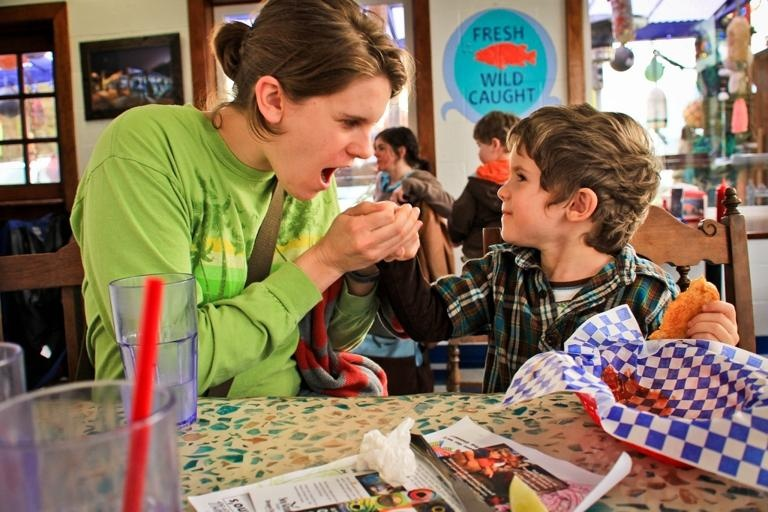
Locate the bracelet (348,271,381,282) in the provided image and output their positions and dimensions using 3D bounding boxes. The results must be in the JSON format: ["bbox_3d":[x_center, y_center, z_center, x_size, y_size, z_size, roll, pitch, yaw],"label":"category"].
[{"bbox_3d":[-0.054,0.053,1.500,0.045,0.017,0.041,3,3,24],"label":"bracelet"}]

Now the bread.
[{"bbox_3d":[0.605,0.106,1.200,0.167,0.057,0.090,-45,8,4],"label":"bread"}]
